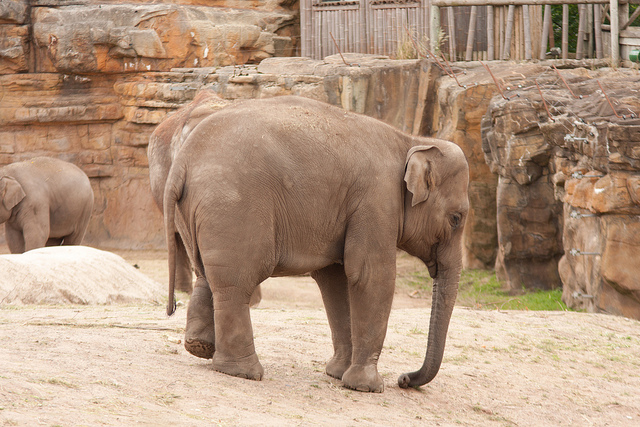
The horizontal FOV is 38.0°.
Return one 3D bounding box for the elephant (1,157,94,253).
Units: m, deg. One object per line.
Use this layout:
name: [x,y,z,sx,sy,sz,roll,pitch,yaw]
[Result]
elephant: [-4.375,-0.084,14.905,0.807,1.439,1.480,11,13,22]
